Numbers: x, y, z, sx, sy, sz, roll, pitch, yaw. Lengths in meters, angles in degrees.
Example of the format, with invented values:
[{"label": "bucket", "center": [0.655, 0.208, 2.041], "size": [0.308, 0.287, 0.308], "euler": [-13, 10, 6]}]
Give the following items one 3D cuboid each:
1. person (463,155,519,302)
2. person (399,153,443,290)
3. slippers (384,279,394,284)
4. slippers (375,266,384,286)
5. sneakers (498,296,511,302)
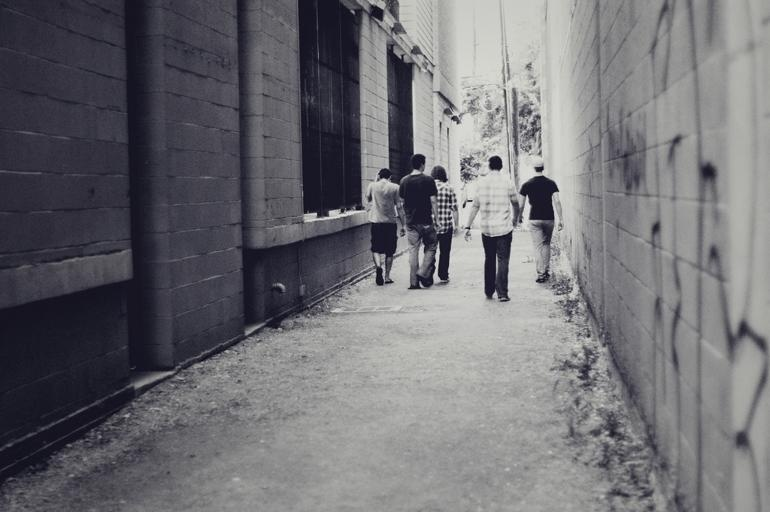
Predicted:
[{"label": "person", "center": [1.893, -0.524, 11.209], "size": [0.902, 2.508, 1.072], "euler": [0, 5, 12]}, {"label": "person", "center": [0.670, -0.697, 12.662], "size": [0.763, 2.629, 0.800], "euler": [-1, 5, 5]}, {"label": "slippers", "center": [0.093, 0.525, 13.387], "size": [0.190, 0.152, 0.068], "euler": [-3, 22, -3]}, {"label": "slippers", "center": [-0.100, 0.410, 13.058], "size": [0.136, 0.387, 0.140], "euler": [-4, 8, -6]}, {"label": "sneakers", "center": [2.038, 0.716, 10.830], "size": [0.195, 0.099, 0.202], "euler": [-1, 6, 2]}]
